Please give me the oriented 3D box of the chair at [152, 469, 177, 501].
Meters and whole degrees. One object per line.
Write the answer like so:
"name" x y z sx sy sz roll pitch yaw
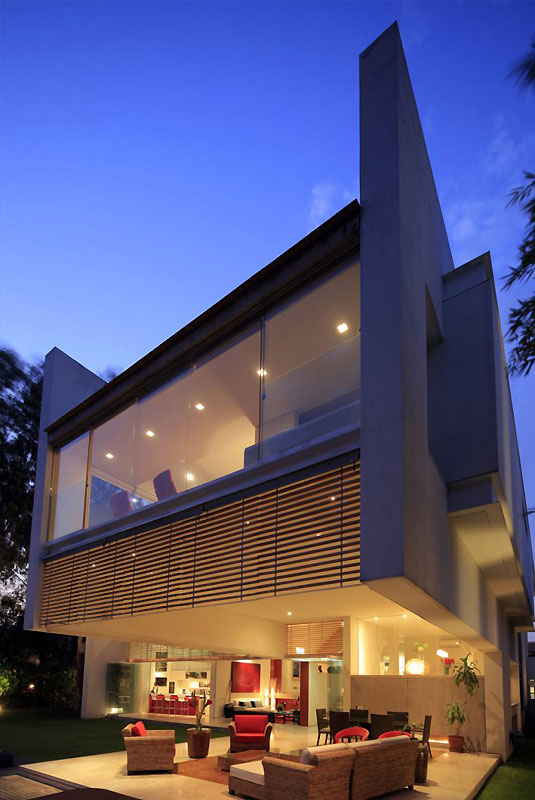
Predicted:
"chair" -1.458 1.234 8.919 0.218 0.341 0.279 -20 -51 11

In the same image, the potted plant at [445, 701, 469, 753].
"potted plant" 3.411 5.909 11.250 0.341 0.774 0.661 -6 -24 15

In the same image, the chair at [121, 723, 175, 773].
"chair" -1.659 4.943 8.854 0.768 0.621 0.815 -4 -21 3

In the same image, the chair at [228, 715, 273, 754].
"chair" -0.273 5.135 9.876 0.719 0.682 0.600 1 -33 -1

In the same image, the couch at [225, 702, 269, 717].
"couch" -0.592 8.550 17.147 0.877 0.385 1.760 9 -27 -19
